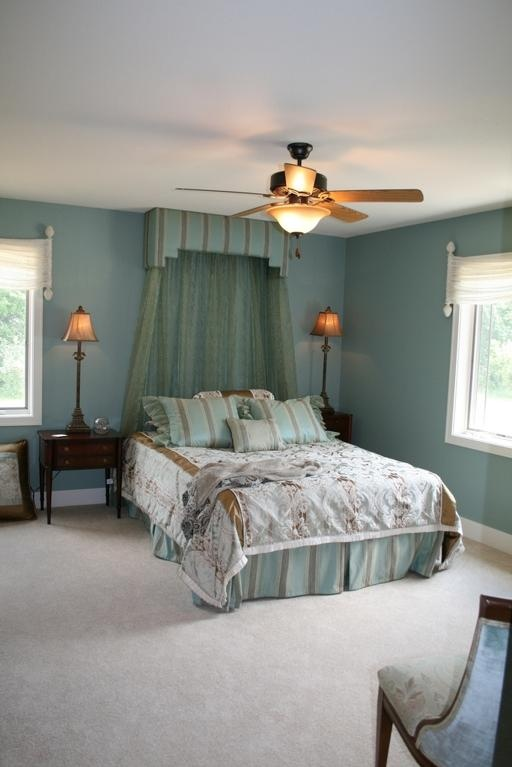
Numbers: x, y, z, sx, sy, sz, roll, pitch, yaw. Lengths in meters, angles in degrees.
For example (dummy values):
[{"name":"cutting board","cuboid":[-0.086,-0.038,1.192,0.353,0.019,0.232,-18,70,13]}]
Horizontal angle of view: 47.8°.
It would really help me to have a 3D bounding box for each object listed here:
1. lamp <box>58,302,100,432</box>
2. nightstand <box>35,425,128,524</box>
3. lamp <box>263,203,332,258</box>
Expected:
[{"name":"lamp","cuboid":[-1.415,-0.126,4.613,0.252,0.998,0.390,1,3,-16]},{"name":"nightstand","cuboid":[-1.330,0.681,4.634,0.780,0.829,0.641,-1,1,-21]},{"name":"lamp","cuboid":[0.209,-0.735,2.830,0.304,0.224,0.311,2,1,5]}]
